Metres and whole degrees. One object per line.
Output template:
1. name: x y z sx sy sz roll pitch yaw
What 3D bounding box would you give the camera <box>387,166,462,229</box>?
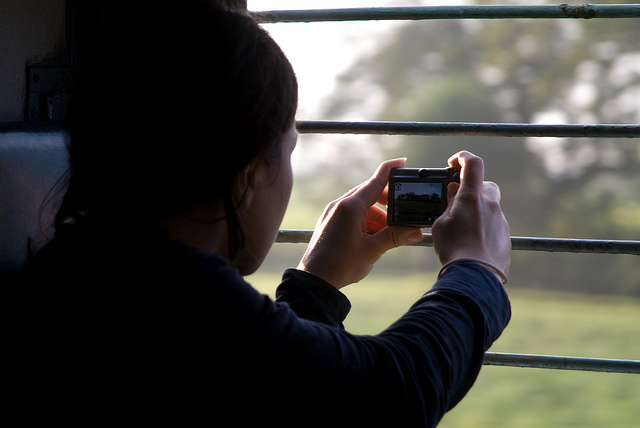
1. camera: 0.385 -0.029 2.919 0.269 0.225 0.148 2 -21 4
